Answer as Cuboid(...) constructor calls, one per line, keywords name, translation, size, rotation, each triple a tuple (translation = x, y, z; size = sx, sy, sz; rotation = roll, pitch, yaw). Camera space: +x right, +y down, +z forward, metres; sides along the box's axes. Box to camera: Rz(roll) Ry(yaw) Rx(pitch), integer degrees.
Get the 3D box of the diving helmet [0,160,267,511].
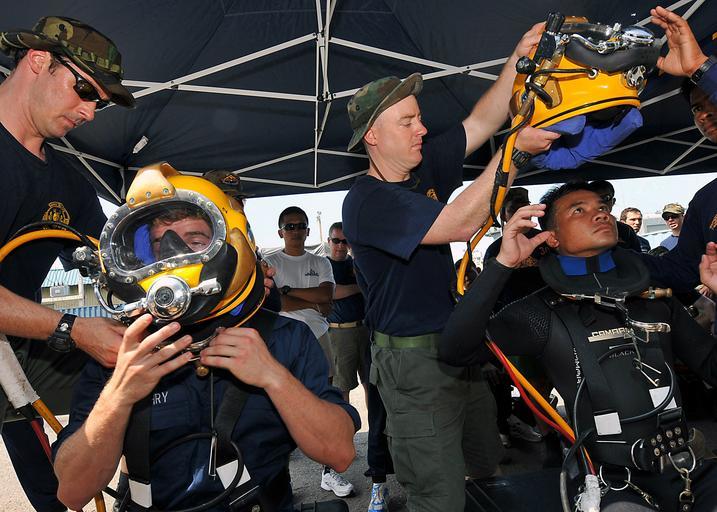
Cuboid(name="diving helmet", translation=(-0.851, 0.375, 2.515), size=(1.098, 1.468, 0.614), rotation=(6, 3, -3))
